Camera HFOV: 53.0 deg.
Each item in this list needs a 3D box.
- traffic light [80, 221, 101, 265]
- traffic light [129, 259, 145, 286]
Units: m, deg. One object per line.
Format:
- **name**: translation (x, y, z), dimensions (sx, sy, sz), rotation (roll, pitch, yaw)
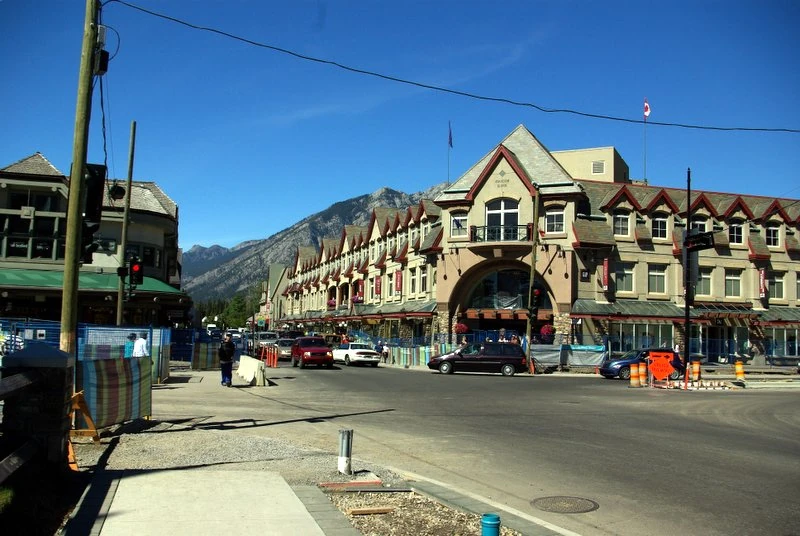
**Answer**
- **traffic light**: translation (-7.516, -0.652, 19.183), dimensions (0.513, 0.845, 0.510), rotation (4, -6, -29)
- **traffic light**: translation (-9.070, 0.097, 27.362), dimensions (0.421, 0.934, 0.606), rotation (3, -9, -22)
